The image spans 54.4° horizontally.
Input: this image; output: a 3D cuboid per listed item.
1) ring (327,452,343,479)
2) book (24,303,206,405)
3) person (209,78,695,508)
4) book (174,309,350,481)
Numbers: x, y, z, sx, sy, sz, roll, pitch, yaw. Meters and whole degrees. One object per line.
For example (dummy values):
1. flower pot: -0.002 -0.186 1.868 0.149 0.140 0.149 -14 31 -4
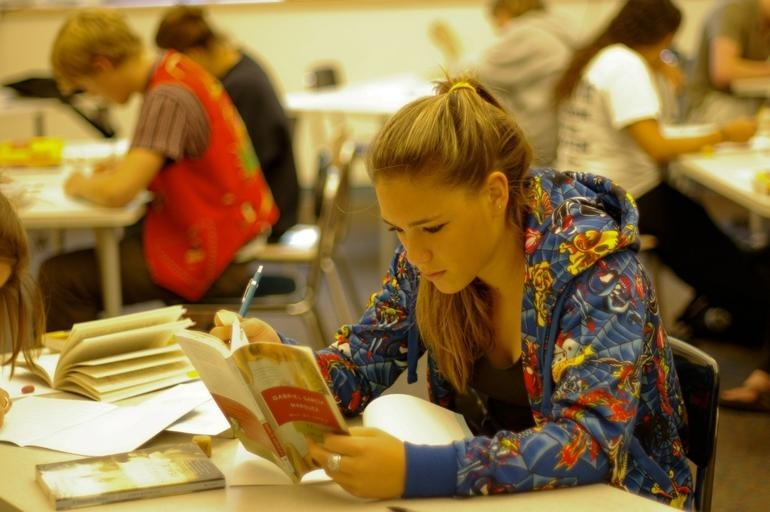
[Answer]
1. ring: -0.101 0.430 1.542 0.033 0.039 0.029 24 66 34
2. book: -0.668 0.264 1.937 0.344 0.141 0.271 12 22 42
3. person: 0.256 0.067 2.090 1.181 1.083 0.904 4 -7 -31
4. book: -0.219 0.291 1.609 0.309 0.362 0.126 7 41 38
